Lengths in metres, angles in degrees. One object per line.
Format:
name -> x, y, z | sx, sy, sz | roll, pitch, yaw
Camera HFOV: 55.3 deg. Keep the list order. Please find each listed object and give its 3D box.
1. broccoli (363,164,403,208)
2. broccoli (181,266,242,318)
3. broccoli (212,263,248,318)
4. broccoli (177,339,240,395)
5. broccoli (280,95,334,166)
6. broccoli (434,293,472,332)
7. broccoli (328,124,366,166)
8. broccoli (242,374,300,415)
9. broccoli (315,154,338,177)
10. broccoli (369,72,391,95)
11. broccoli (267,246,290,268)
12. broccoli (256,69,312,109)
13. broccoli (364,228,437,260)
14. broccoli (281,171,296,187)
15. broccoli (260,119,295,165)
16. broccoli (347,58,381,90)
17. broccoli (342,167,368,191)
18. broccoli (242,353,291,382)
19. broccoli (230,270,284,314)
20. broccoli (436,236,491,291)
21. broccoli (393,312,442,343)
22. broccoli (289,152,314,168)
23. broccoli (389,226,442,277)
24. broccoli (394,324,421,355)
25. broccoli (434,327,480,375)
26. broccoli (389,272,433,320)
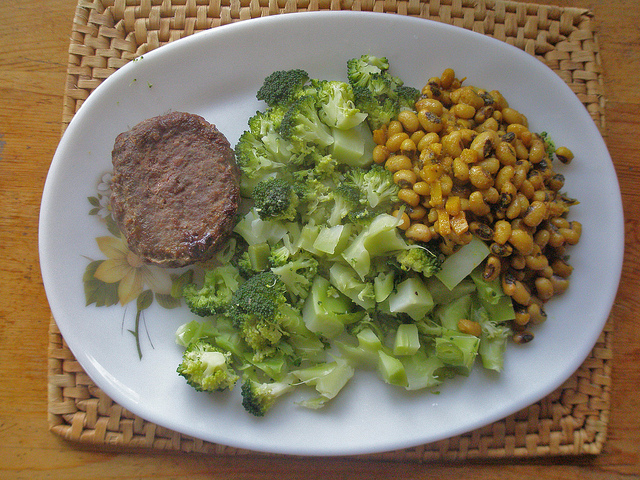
broccoli -> 0.443, -0.391, 4.443 | 0.287, 0.259, 0.253 | 16, 64, 44
broccoli -> -0.777, 0.400, 4.549 | 0.336, 0.180, 0.419 | 10, 62, -7
broccoli -> -0.698, 0.358, 4.569 | 0.262, 0.329, 0.344 | 0, 118, -24
broccoli -> -0.811, 0.951, 4.473 | 0.424, 0.161, 0.344 | 23, 86, 3
broccoli -> -0.117, -0.835, 4.486 | 0.333, 0.102, 0.393 | -27, 85, -1
broccoli -> 0.993, 0.527, 4.518 | 0.254, 0.067, 0.256 | 18, 89, -6
broccoli -> 0.206, -0.703, 4.513 | 0.280, 0.216, 0.289 | 2, 85, -24
broccoli -> -0.376, 1.127, 4.560 | 0.370, 0.172, 0.240 | -18, 64, -26
broccoli -> 0.049, -0.549, 4.473 | 0.139, 0.048, 0.139 | 13, 91, -15
broccoli -> 0.447, -1.164, 4.564 | 0.147, 0.147, 0.102 | 12, 68, -23
broccoli -> -0.301, 0.127, 4.471 | 0.111, 0.077, 0.152 | 34, 69, 0
broccoli -> -0.278, -1.146, 4.563 | 0.293, 0.118, 0.324 | -4, 52, 26
broccoli -> 0.561, 0.038, 4.345 | 0.383, 0.115, 0.244 | 7, 86, -5
broccoli -> -0.235, -0.441, 4.559 | 0.096, 0.027, 0.108 | -44, 107, -8
broccoli -> -0.339, -0.734, 4.599 | 0.215, 0.115, 0.320 | -6, 98, 1
broccoli -> 0.304, -1.271, 4.599 | 0.228, 0.071, 0.227 | 27, 96, 11
broccoli -> 0.261, -0.442, 4.580 | 0.158, 0.136, 0.158 | -1, 54, 19
broccoli -> -0.405, 0.946, 4.527 | 0.244, 0.067, 0.245 | 9, 105, 27
broccoli -> -0.440, 0.385, 4.375 | 0.259, 0.094, 0.316 | 32, 85, 44
broccoli -> 1.020, 0.158, 4.404 | 0.390, 0.056, 0.190 | -44, 86, -2
broccoli -> 0.732, 0.642, 4.592 | 0.288, 0.113, 0.194 | 22, 101, 5
broccoli -> -0.128, -0.598, 4.558 | 0.106, 0.038, 0.107 | 1, 91, -30
broccoli -> 0.713, 0.120, 4.420 | 0.285, 0.146, 0.329 | -29, 68, -5
broccoli -> 0.618, 0.733, 4.504 | 0.183, 0.227, 0.223 | 5, 67, -5
broccoli -> 0.961, 0.844, 4.487 | 0.287, 0.133, 0.226 | 14, 107, -3
broccoli -> 0.658, 0.420, 4.411 | 0.289, 0.113, 0.283 | -43, 73, 4
